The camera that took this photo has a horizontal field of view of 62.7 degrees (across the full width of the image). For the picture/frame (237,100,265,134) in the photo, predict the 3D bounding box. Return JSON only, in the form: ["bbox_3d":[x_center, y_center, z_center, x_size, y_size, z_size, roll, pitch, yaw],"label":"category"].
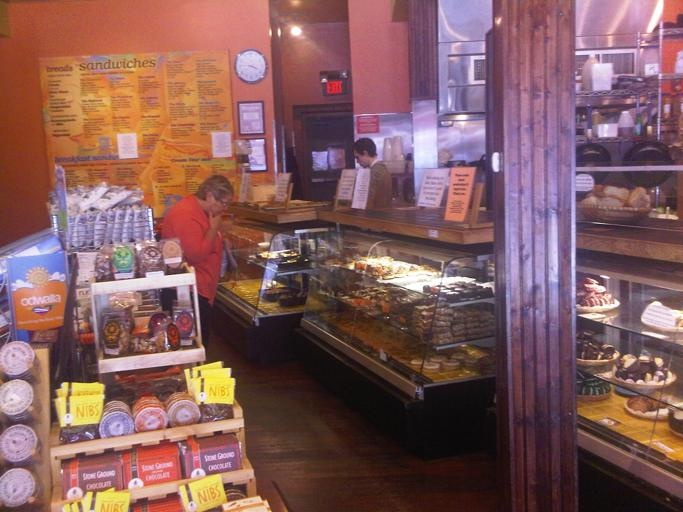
[{"bbox_3d":[-1.181,-1.804,7.207,0.430,0.477,0.049,0,6,-6],"label":"picture/frame"}]

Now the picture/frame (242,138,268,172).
[{"bbox_3d":[-1.147,-1.337,7.282,0.443,0.585,0.057,-4,11,-17],"label":"picture/frame"}]

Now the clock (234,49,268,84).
[{"bbox_3d":[-1.175,-2.429,7.133,0.449,0.432,0.047,0,3,-8],"label":"clock"}]
